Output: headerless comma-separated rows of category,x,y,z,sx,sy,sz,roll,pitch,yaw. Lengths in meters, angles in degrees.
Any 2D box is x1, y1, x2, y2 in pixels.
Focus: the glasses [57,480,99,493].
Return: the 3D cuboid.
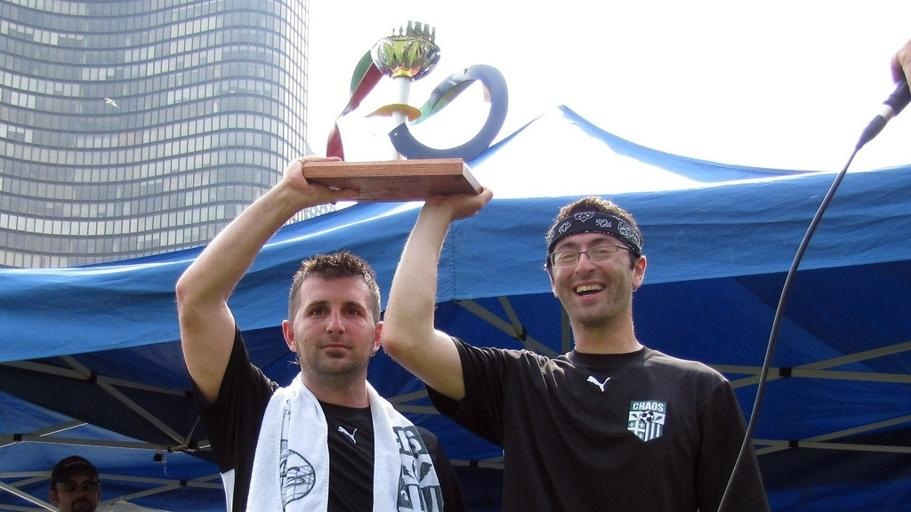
glasses,-4.231,2.596,11.128,0.413,0.132,0.119,9,-31,-18
